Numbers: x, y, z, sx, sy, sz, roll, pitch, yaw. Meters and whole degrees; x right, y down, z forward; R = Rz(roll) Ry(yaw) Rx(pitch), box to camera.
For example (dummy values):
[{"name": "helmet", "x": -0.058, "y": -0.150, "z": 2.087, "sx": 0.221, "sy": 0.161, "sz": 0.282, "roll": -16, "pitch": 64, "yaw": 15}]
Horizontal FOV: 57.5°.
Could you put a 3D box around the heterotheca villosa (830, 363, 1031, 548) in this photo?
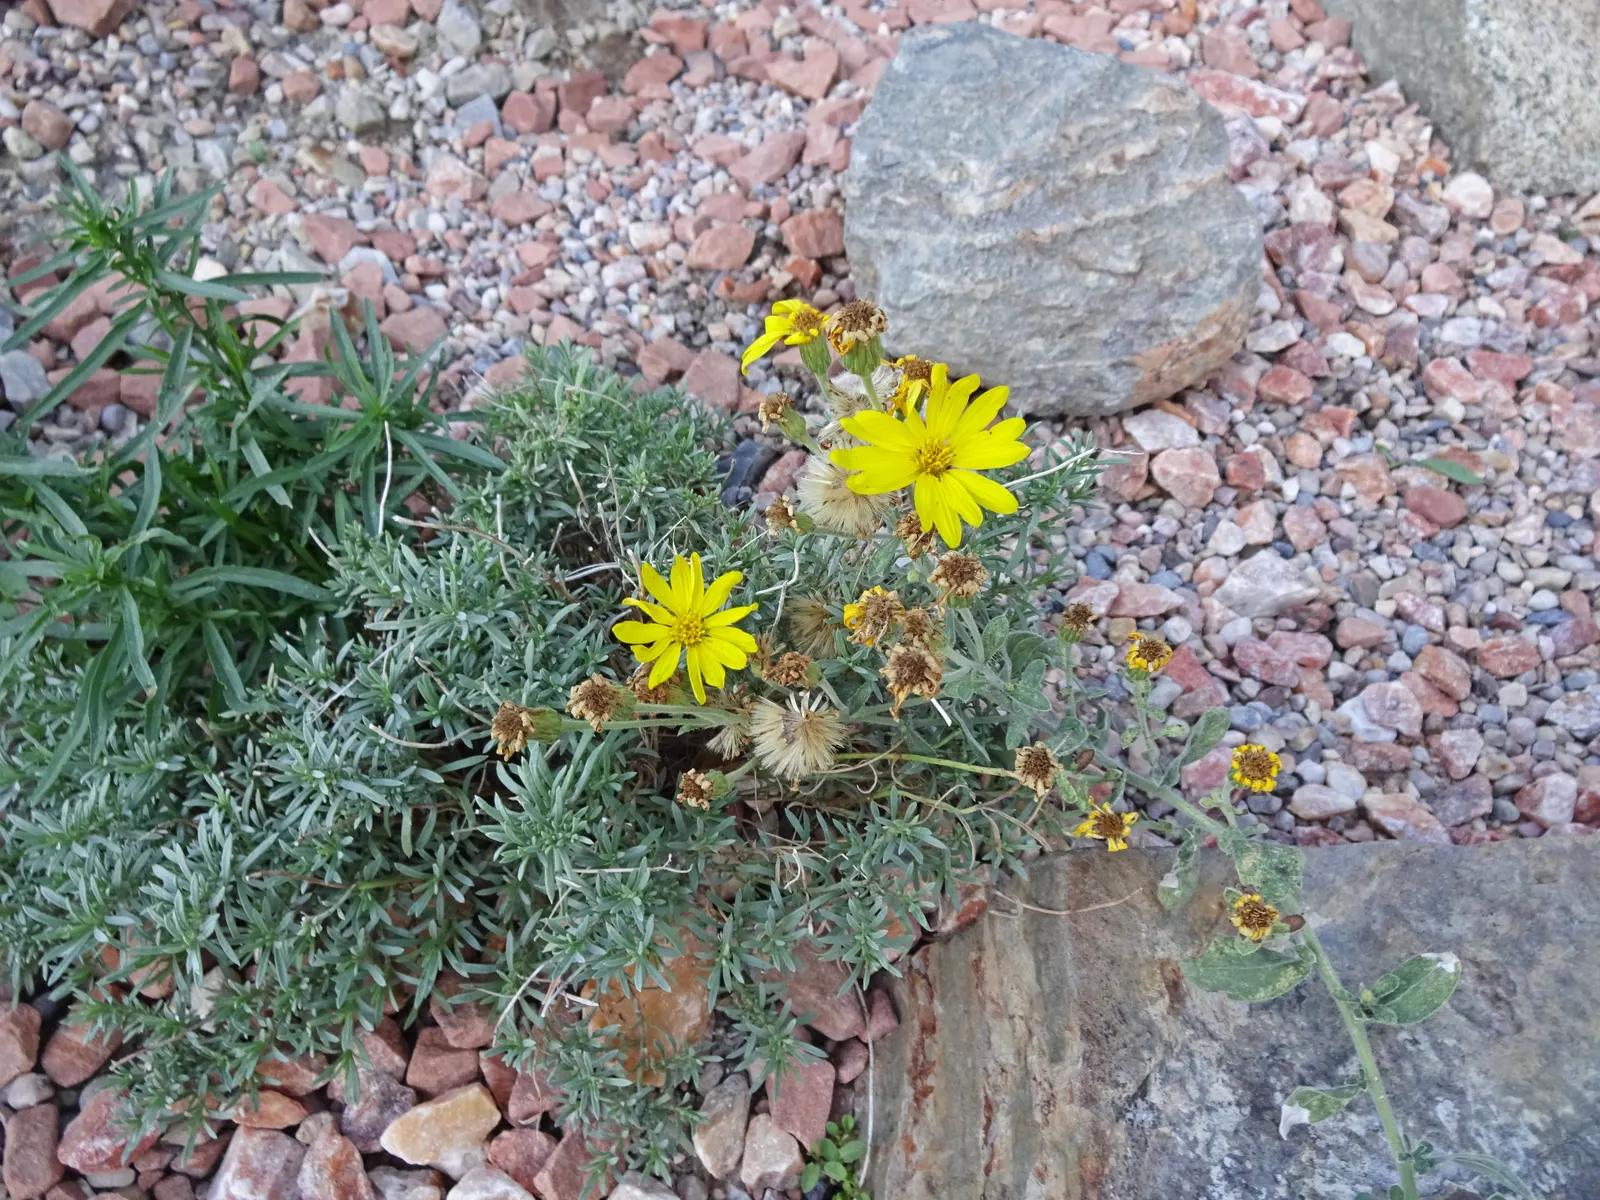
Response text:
[{"name": "heterotheca villosa", "x": 0.258, "y": -0.296, "z": 2.926, "sx": 0.427, "sy": 0.452, "sz": 0.138, "roll": -12, "pitch": 68, "yaw": 16}]

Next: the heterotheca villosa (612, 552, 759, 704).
[{"name": "heterotheca villosa", "x": -0.231, "y": 0.067, "z": 2.996, "sx": 0.279, "sy": 0.186, "sz": 0.283, "roll": 24, "pitch": 81, "yaw": 2}]
